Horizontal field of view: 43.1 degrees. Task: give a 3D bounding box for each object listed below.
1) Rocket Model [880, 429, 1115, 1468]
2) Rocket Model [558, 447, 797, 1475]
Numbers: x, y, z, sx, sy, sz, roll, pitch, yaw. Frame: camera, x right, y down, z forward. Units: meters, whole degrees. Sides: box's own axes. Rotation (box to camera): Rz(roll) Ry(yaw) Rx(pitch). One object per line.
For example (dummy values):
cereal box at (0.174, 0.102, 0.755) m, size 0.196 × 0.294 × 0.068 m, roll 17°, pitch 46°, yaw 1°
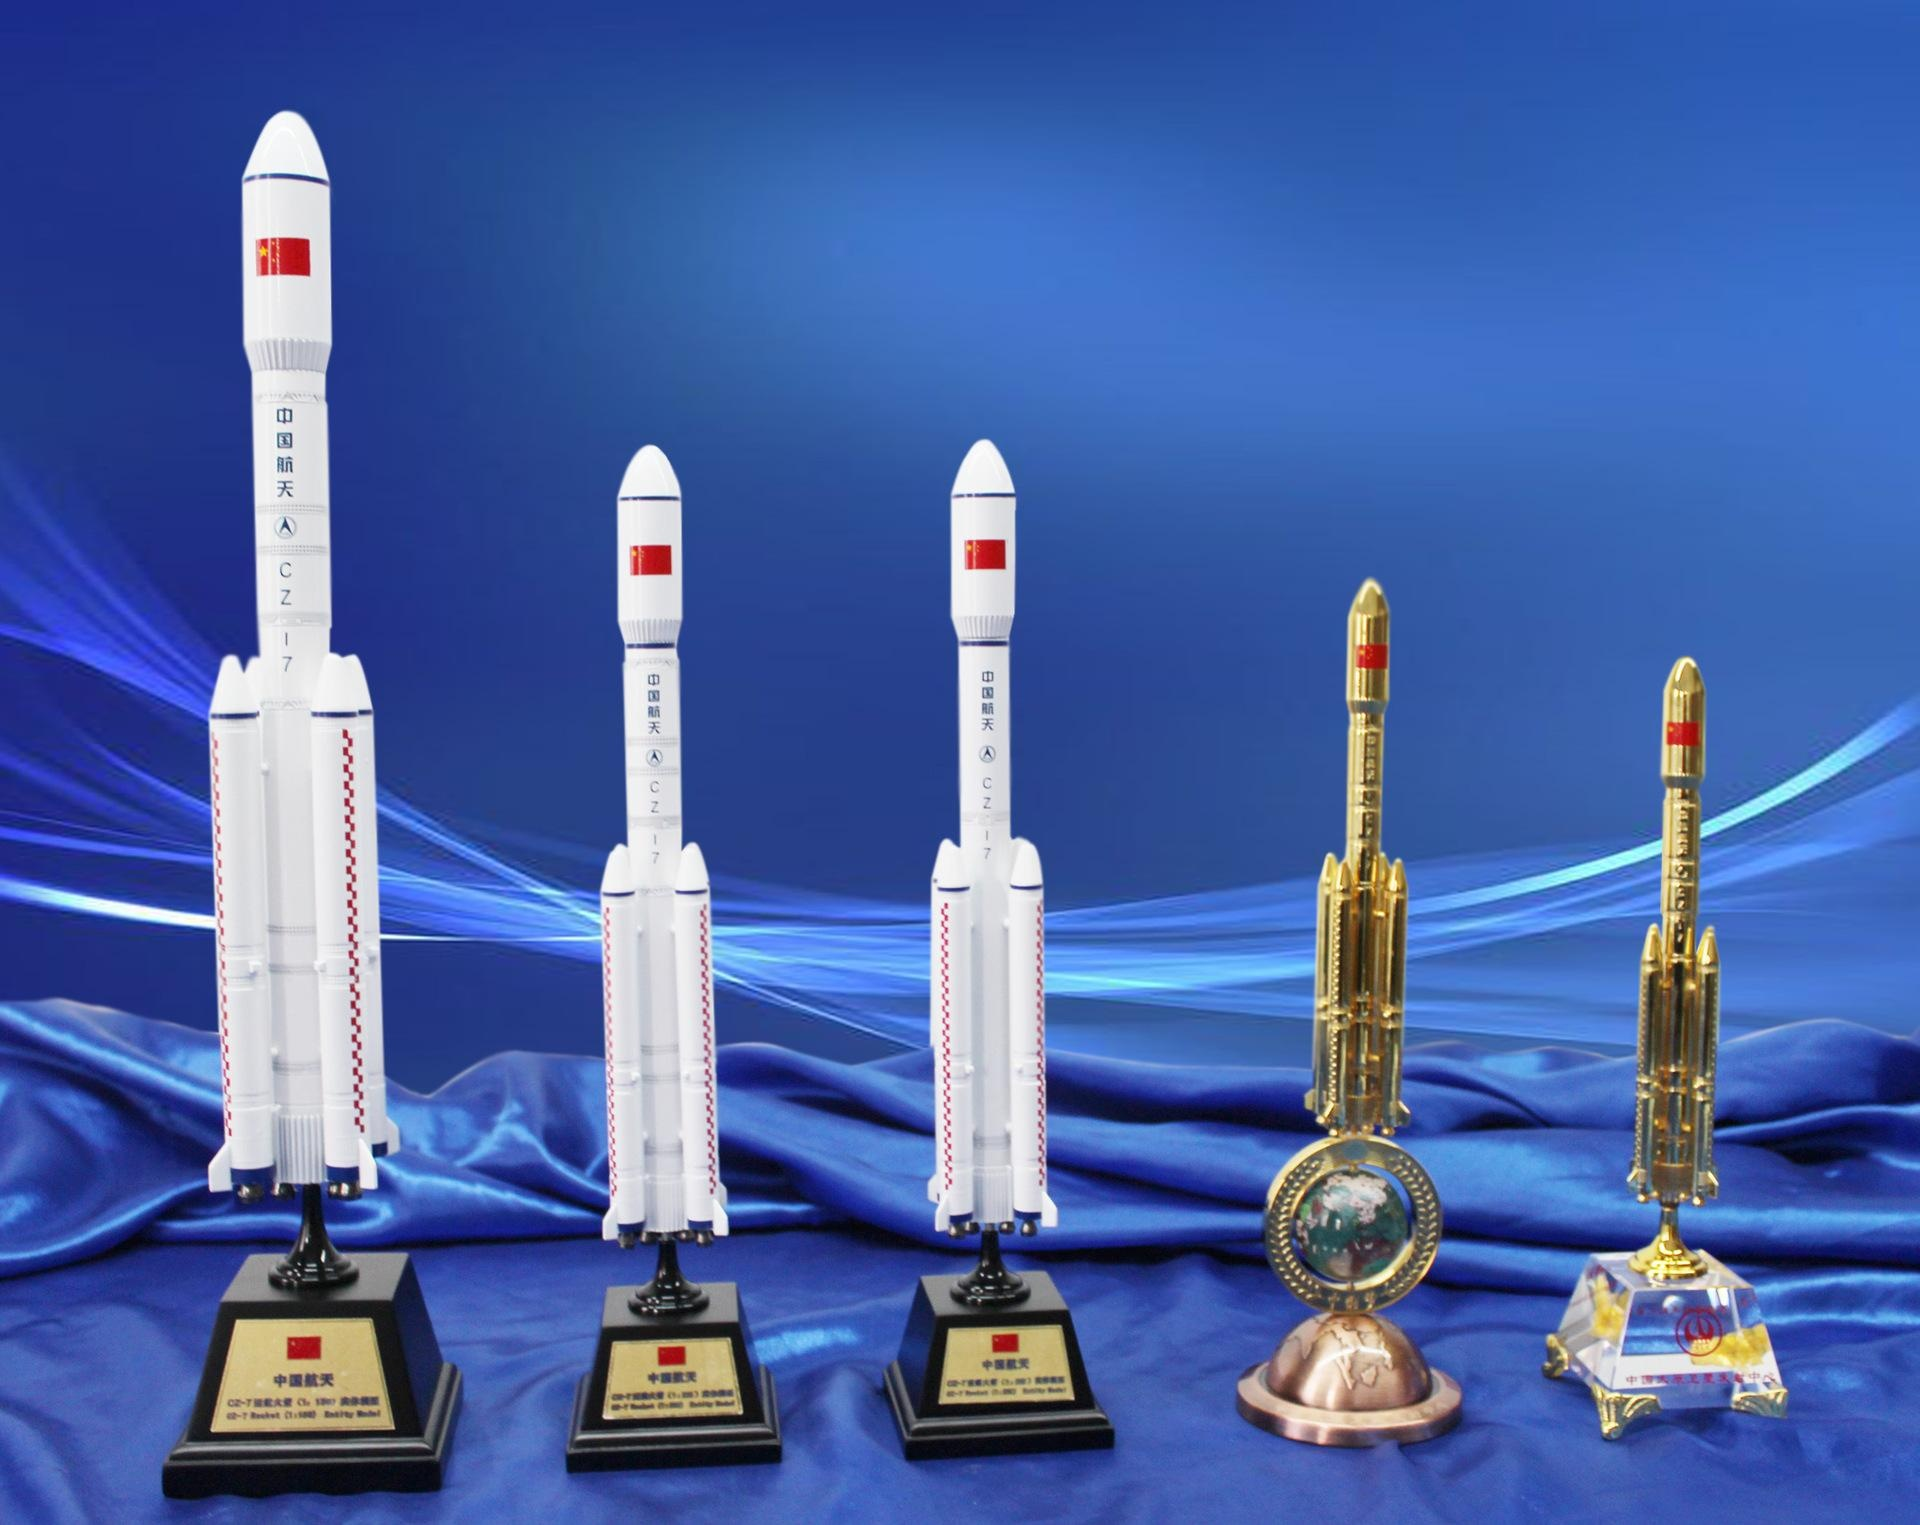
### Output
Rocket Model at (0.104, 0.490, 6.391) m, size 0.764 × 2.542 × 0.791 m, roll 0°, pitch 5°, yaw 13°
Rocket Model at (-0.744, 0.507, 6.336) m, size 0.538 × 2.524 × 0.739 m, roll 0°, pitch -17°, yaw -10°
